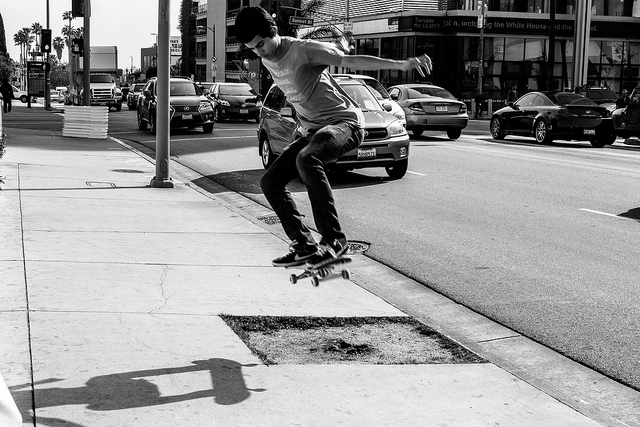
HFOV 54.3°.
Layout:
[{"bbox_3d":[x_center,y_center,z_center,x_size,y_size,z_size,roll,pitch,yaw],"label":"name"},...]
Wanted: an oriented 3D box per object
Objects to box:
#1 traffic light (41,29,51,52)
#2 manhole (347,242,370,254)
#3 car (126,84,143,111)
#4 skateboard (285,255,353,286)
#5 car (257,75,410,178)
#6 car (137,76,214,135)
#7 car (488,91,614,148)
[{"bbox_3d":[-18.812,-11.722,42.570,0.587,1.485,1.261,-3,12,-28],"label":"traffic light"},{"bbox_3d":[0.528,0.454,8.695,0.279,0.092,0.648,4,13,3],"label":"manhole"},{"bbox_3d":[-15.528,-9.617,51.399,1.394,1.443,3.222,-2,9,-14],"label":"car"},{"bbox_3d":[-0.006,0.521,5.857,0.746,0.283,0.358,-2,-7,3],"label":"skateboard"},{"bbox_3d":[0.228,-2.251,15.858,2.682,2.708,4.939,-3,8,-21],"label":"car"},{"bbox_3d":[-6.789,-5.040,28.686,2.776,2.462,5.885,-6,15,-24],"label":"car"},{"bbox_3d":[8.621,-3.557,23.419,1.667,1.941,3.984,-7,15,-40],"label":"car"}]
